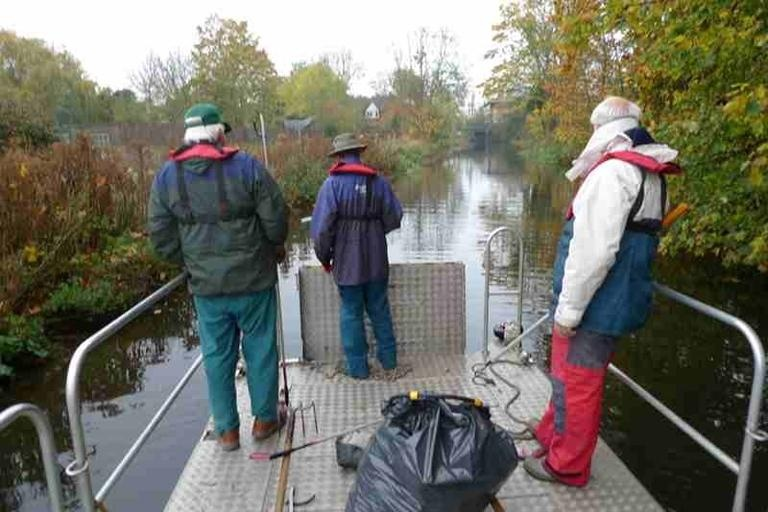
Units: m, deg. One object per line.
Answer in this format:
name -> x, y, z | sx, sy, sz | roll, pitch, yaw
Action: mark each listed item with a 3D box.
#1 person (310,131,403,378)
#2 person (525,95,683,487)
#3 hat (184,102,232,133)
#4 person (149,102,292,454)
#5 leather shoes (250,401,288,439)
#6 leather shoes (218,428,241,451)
person -> -0.323, 0.003, 7.189 | 1.008, 2.752, 0.687 | -1, 12, 1
person -> 1.941, 0.388, 5.760 | 1.149, 3.582, 0.560 | -5, 13, -21
hat -> -1.752, -1.378, 6.207 | 0.466, 0.277, 0.325 | -15, 24, -42
person -> -1.582, 0.224, 6.189 | 1.250, 3.387, 0.697 | -3, 12, -10
leather shoes -> -1.178, 1.741, 6.451 | 0.177, 0.241, 0.508 | 8, 31, 19
leather shoes -> -1.560, 1.859, 6.235 | 0.219, 0.252, 0.156 | 6, -1, -15
